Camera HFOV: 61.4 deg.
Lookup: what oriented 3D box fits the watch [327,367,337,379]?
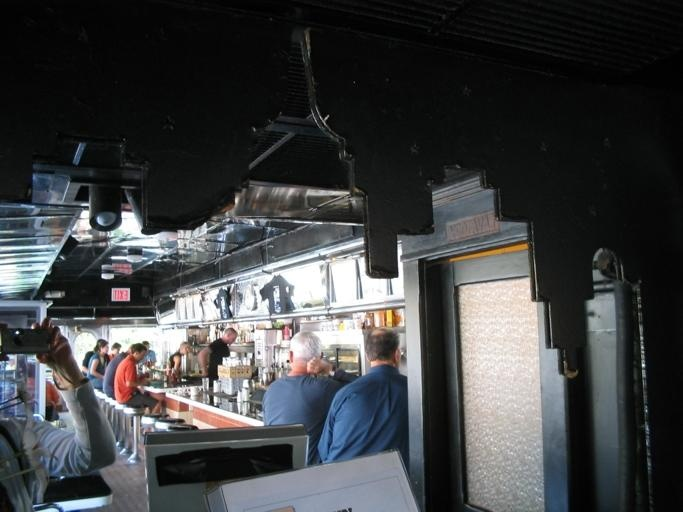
[{"bbox_3d":[-0.086,0.876,4.301,0.023,0.101,0.099,-1,-24,-17],"label":"watch"}]

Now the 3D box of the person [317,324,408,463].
[{"bbox_3d":[0.115,0.771,3.143,0.490,0.734,0.389,-1,-5,-1],"label":"person"}]

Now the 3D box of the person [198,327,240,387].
[{"bbox_3d":[-1.931,1.558,9.025,0.541,0.874,1.188,0,-6,-13],"label":"person"}]

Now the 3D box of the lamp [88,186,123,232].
[{"bbox_3d":[-1.053,-0.244,2.560,0.119,0.210,0.127,-25,-21,39],"label":"lamp"}]
